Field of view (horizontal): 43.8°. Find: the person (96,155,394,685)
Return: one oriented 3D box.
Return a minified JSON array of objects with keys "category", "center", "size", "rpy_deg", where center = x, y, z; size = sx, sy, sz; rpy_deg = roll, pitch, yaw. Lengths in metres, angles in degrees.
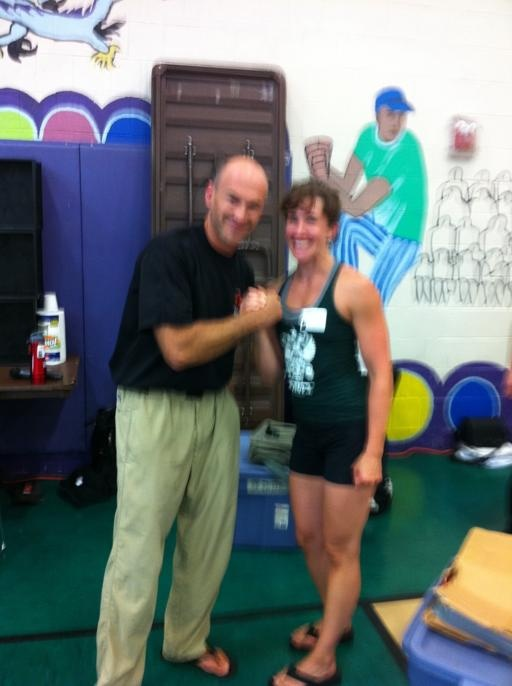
[{"category":"person","center":[-0.218,0.266,1.894],"size":[0.622,1.611,0.285],"rpy_deg":[-6,10,-36]}]

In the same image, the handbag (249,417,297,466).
[{"category":"handbag","center":[0.073,0.454,2.906],"size":[0.160,0.127,0.174],"rpy_deg":[1,-17,3]}]

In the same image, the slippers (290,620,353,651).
[{"category":"slippers","center":[0.220,0.977,2.169],"size":[0.177,0.081,0.103],"rpy_deg":[3,-6,-14]}]

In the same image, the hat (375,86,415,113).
[{"category":"hat","center":[0.801,-1.406,3.696],"size":[0.186,0.110,0.118],"rpy_deg":[19,-8,-21]}]

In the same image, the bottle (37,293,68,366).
[{"category":"bottle","center":[-1.020,-0.071,3.186],"size":[0.129,0.358,0.241],"rpy_deg":[-2,9,-19]}]

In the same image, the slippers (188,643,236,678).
[{"category":"slippers","center":[-0.127,1.028,2.047],"size":[0.107,0.029,0.067],"rpy_deg":[5,15,27]}]
